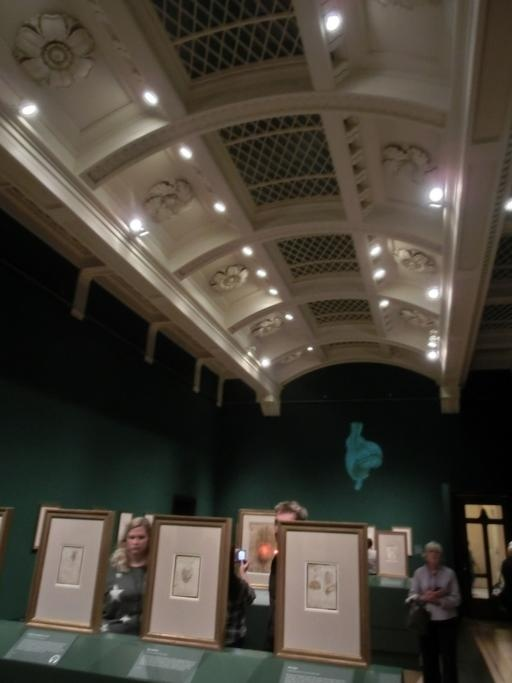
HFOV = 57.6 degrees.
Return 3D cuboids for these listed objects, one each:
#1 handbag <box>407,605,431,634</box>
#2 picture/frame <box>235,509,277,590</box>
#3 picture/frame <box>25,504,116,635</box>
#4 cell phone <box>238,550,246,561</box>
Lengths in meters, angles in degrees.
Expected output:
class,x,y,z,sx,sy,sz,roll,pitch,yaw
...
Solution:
class,x,y,z,sx,sy,sz,roll,pitch,yaw
handbag,1.814,3.057,5.163,0.221,0.253,0.187,-4,-22,17
picture/frame,0.096,2.660,6.027,0.693,0.916,0.082,3,-12,5
picture/frame,-0.892,1.045,2.186,0.447,0.495,0.084,-6,-23,20
cell phone,-0.122,1.810,3.980,0.074,0.073,0.022,7,-30,-11
